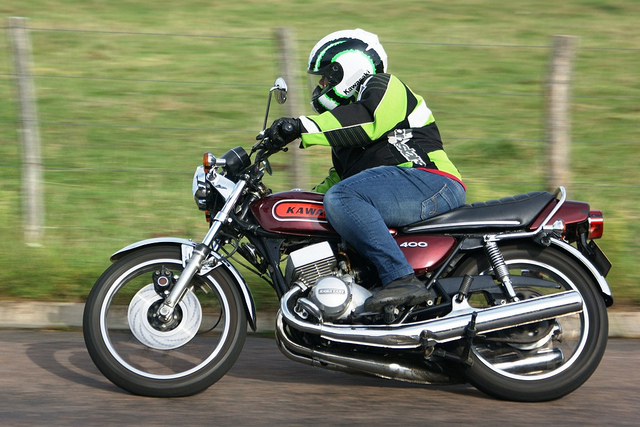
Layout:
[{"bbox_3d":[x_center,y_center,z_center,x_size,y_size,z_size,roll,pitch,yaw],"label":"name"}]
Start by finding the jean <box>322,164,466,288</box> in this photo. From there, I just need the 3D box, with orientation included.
[{"bbox_3d":[0.667,0.065,6.845,0.772,0.925,0.884,16,23,37],"label":"jean"}]
